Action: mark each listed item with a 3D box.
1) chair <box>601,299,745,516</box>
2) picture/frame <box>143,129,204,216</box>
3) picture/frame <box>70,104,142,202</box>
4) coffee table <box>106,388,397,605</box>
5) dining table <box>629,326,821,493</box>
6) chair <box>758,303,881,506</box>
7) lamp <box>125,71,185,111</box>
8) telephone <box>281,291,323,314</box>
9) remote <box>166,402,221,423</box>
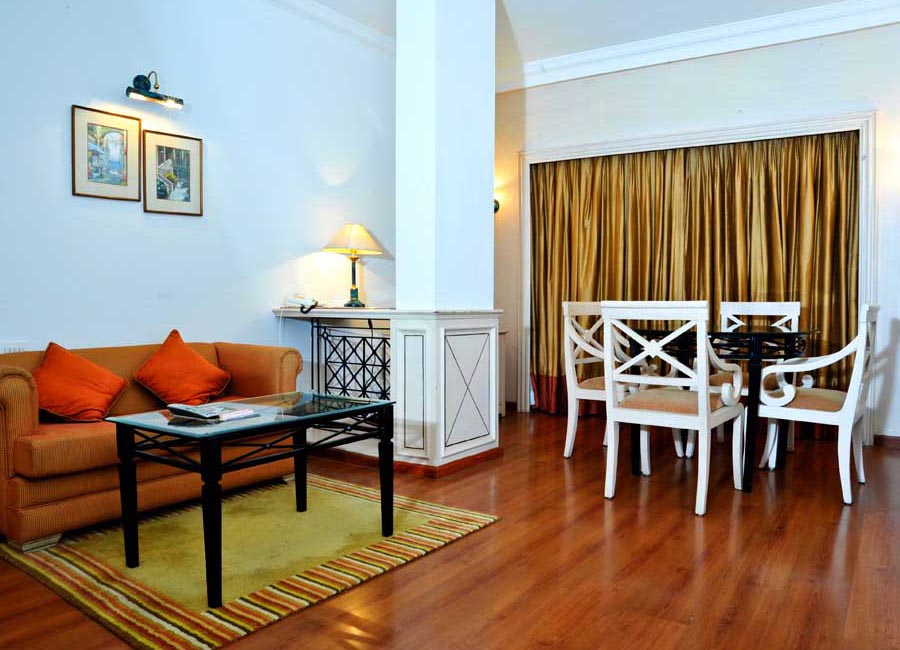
[{"bbox_3d":[1.503,0.366,4.660,0.893,1.240,1.648,4,12,20],"label":"chair"},{"bbox_3d":[-1.941,-1.050,4.878,0.434,0.570,0.160,-7,14,-31],"label":"picture/frame"},{"bbox_3d":[-2.245,-1.111,4.569,0.068,0.583,0.484,11,16,42],"label":"picture/frame"},{"bbox_3d":[-1.043,0.754,3.624,1.225,0.779,0.992,-9,15,-40],"label":"coffee table"},{"bbox_3d":[1.928,0.472,4.894,1.063,0.953,1.057,0,-1,-36],"label":"dining table"},{"bbox_3d":[2.500,0.431,4.722,0.661,1.262,1.446,8,14,32],"label":"chair"},{"bbox_3d":[-1.946,-1.573,4.685,0.129,0.270,0.451,14,13,36],"label":"lamp"},{"bbox_3d":[-1.167,-0.168,5.429,0.206,0.083,0.212,4,6,26],"label":"telephone"},{"bbox_3d":[-1.224,0.420,3.366,0.203,0.055,0.128,14,4,13],"label":"remote"}]
